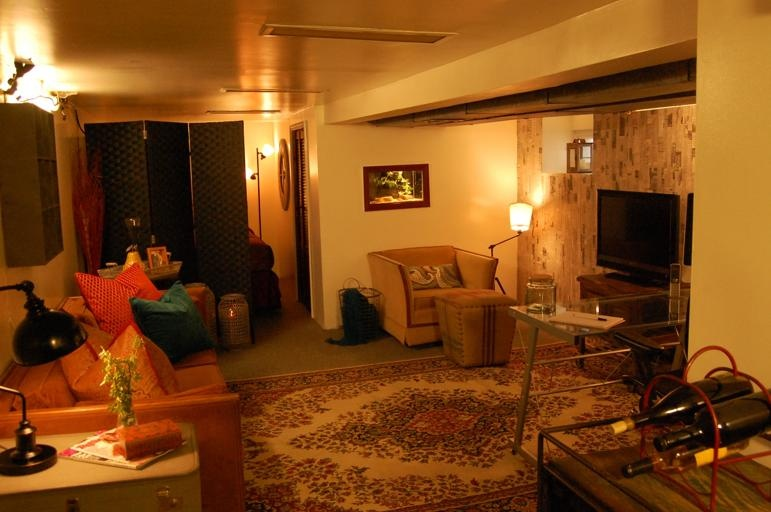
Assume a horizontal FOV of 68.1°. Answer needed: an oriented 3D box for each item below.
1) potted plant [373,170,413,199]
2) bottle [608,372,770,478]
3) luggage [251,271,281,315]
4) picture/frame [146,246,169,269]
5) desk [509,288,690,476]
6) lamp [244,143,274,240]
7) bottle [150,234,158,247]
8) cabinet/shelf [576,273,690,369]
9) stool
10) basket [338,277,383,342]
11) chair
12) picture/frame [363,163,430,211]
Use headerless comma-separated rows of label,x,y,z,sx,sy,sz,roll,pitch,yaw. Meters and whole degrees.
potted plant,0.117,-0.918,7.357,0.657,0.311,0.431,0,5,-13
bottle,0.861,0.488,1.676,0.470,0.237,0.130,-10,13,-17
luggage,-1.811,0.458,8.303,0.525,0.463,0.598,2,3,3
picture/frame,-2.265,0.022,5.690,0.091,0.223,0.214,-8,0,45
desk,1.353,0.787,3.651,1.333,0.808,0.663,-5,9,-26
lamp,-2.179,-1.142,9.868,0.338,1.449,0.401,17,-35,-41
bottle,-2.591,-0.170,6.412,0.071,0.135,0.195,-6,12,-21
cabinet/shelf,1.917,0.522,4.382,0.685,0.479,0.979,-1,7,-10
stool,0.871,0.705,5.991,0.814,0.720,0.781,0,4,-2
basket,-0.185,0.690,6.927,0.633,0.708,0.594,-2,0,-22
chair,0.512,0.373,6.859,1.313,0.983,1.240,-2,3,-24
picture/frame,0.098,-0.901,7.342,0.679,0.418,0.026,-3,6,-12
